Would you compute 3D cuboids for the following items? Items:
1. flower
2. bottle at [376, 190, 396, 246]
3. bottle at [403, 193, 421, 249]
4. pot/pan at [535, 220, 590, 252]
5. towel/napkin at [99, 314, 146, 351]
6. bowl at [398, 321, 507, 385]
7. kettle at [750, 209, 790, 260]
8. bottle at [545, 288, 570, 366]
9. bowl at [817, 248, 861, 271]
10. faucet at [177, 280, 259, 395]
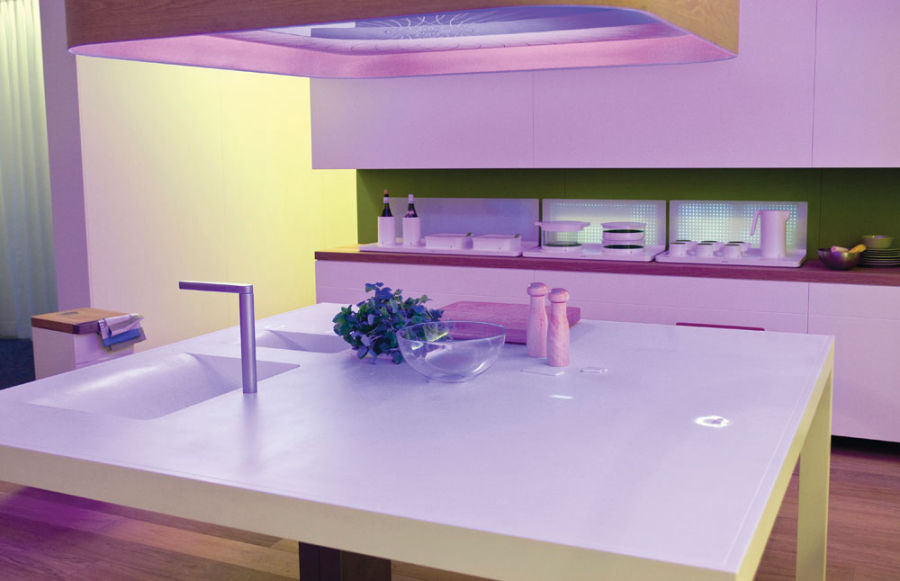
[{"bbox_3d":[-0.210,0.112,2.293,0.297,0.205,0.298,-3,2,20],"label":"flower"},{"bbox_3d":[-0.477,-0.547,4.878,0.122,0.376,0.420,-3,14,-6],"label":"bottle"},{"bbox_3d":[-0.279,-0.507,4.719,0.115,0.359,0.245,-3,14,-4],"label":"bottle"},{"bbox_3d":[0.768,-0.373,4.563,0.289,0.140,0.246,1,2,27],"label":"pot/pan"},{"bbox_3d":[-1.822,0.245,3.657,0.186,0.079,0.188,-20,-2,-38],"label":"towel/napkin"},{"bbox_3d":[0.019,0.190,2.089,0.270,0.155,0.321,12,19,43],"label":"bowl"},{"bbox_3d":[1.957,-0.347,4.021,0.152,0.275,0.257,5,15,24],"label":"kettle"},{"bbox_3d":[0.367,0.107,2.242,0.074,0.237,0.253,1,14,9],"label":"bottle"},{"bbox_3d":[2.213,-0.181,3.789,0.154,0.078,0.155,0,3,0],"label":"bowl"},{"bbox_3d":[-0.676,0.120,2.022,0.204,0.338,0.208,-1,14,1],"label":"faucet"}]
